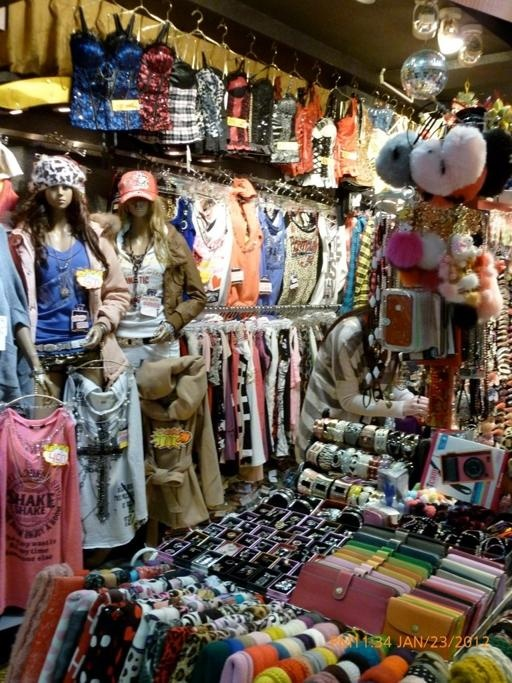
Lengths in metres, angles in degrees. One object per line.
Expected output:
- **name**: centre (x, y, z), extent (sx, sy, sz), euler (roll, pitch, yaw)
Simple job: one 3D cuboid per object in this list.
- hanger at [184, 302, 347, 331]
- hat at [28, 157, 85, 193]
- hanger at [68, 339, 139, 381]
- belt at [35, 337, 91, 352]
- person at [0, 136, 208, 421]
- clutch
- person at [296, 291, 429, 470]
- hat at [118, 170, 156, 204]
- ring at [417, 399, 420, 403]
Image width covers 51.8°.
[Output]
- **hanger**: centre (0.032, -0.179, 3.939), extent (1.011, 0.072, 0.228), euler (-4, 23, -25)
- **hat**: centre (-0.960, -0.818, 2.559), extent (0.252, 0.186, 0.190), euler (-7, 6, -28)
- **hanger**: centre (-0.772, 0.088, 2.716), extent (0.080, 0.187, 0.190), euler (-4, 40, 14)
- **belt**: centre (-0.935, 0.024, 2.547), extent (0.232, 0.045, 0.046), euler (-6, 6, -23)
- **person**: centre (-0.935, -0.324, 2.641), extent (0.380, 1.155, 0.703), euler (-1, 6, 33)
- **clutch**: centre (0.306, 0.530, 1.142), extent (0.229, 0.075, 0.228), euler (5, 5, 37)
- **person**: centre (0.356, 0.185, 2.124), extent (0.428, 0.637, 0.728), euler (-4, 5, 3)
- **hat**: centre (-0.676, -0.867, 2.974), extent (0.170, 0.112, 0.228), euler (-2, 9, -3)
- **ring**: centre (0.541, 0.201, 1.760), extent (0.009, 0.012, 0.021), euler (-3, 5, 17)
